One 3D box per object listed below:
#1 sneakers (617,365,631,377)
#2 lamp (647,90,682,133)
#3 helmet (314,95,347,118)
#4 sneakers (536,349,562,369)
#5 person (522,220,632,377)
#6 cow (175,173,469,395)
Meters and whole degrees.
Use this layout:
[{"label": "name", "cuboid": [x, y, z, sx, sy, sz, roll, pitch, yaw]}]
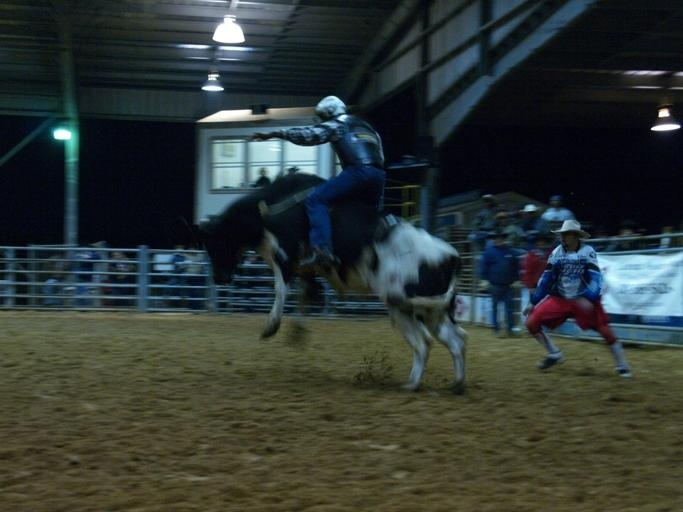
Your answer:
[{"label": "sneakers", "cuboid": [3.860, 1.536, 11.161, 0.225, 0.137, 0.194, 2, 12, -1]}, {"label": "lamp", "cuboid": [9.635, -4.227, 24.337, 0.602, 1.011, 1.970, 9, 13, 19]}, {"label": "helmet", "cuboid": [-0.145, -1.915, 10.571, 0.438, 0.247, 0.306, 14, 19, 19]}, {"label": "sneakers", "cuboid": [2.953, 1.417, 11.536, 0.471, 0.136, 0.198, -22, -46, 16]}, {"label": "person", "cuboid": [3.264, 0.568, 11.375, 1.333, 2.113, 0.606, 9, 16, 20]}, {"label": "cow", "cuboid": [-0.022, 0.241, 10.534, 3.508, 2.520, 0.985, 10, 16, 31]}]
